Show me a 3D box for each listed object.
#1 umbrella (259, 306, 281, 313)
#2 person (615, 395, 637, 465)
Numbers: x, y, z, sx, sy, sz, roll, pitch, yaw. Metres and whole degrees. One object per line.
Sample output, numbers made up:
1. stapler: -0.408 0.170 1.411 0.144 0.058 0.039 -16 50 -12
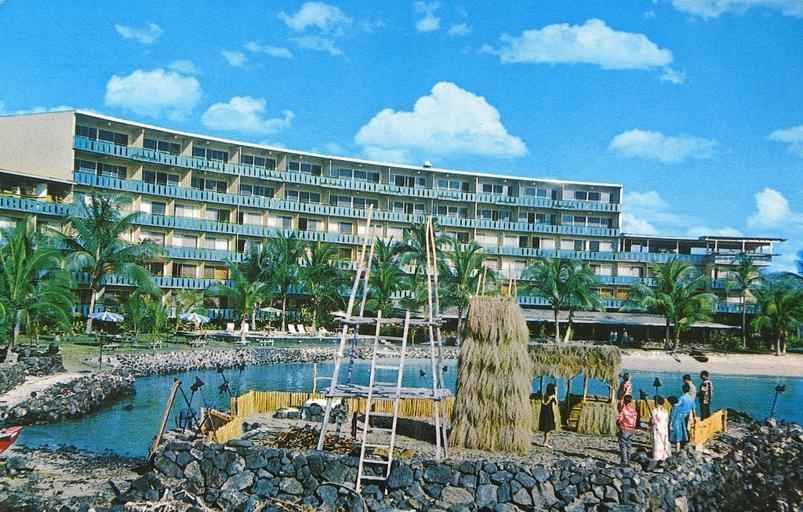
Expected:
1. umbrella: -12.350 5.109 67.238 1.655 0.735 3.799 4 -8 -4
2. person: 9.418 7.330 30.075 0.693 2.845 1.540 1 -9 17
